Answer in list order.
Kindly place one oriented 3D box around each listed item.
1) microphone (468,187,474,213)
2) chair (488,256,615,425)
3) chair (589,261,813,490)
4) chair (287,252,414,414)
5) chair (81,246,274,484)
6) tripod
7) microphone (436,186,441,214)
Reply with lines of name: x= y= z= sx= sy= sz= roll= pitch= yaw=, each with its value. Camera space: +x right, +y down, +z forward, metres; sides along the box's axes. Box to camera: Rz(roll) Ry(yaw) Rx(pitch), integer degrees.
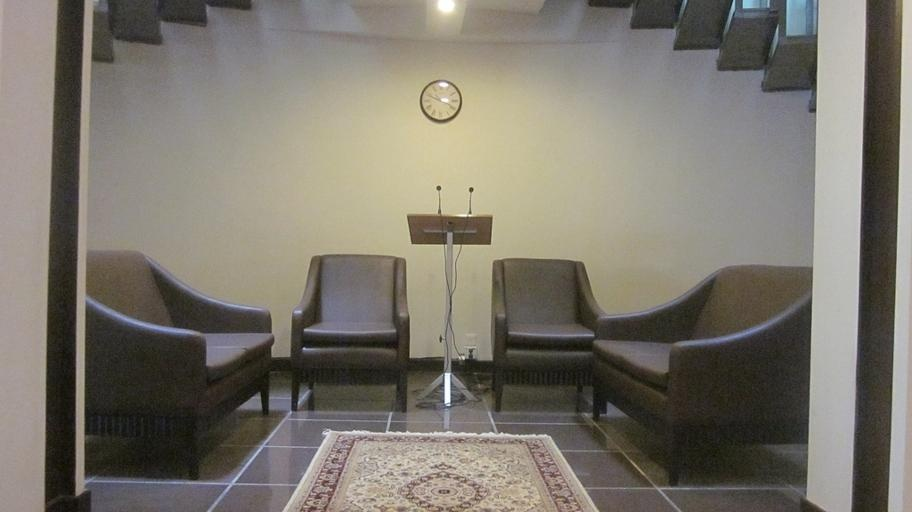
microphone: x=0.128 y=-0.446 z=5.821 sx=0.049 sy=0.198 sz=0.094 roll=-1 pitch=5 yaw=-4
chair: x=0.651 y=0.547 z=5.448 sx=0.849 sy=1.006 sz=0.887 roll=1 pitch=4 yaw=-6
chair: x=1.632 y=0.658 z=4.832 sx=1.152 sy=1.065 sz=1.378 roll=-1 pitch=3 yaw=-6
chair: x=-0.757 y=0.529 z=5.335 sx=0.825 sy=1.055 sz=0.681 roll=-1 pitch=4 yaw=-3
chair: x=-1.959 y=0.597 z=5.005 sx=1.067 sy=1.181 sz=1.750 roll=4 pitch=2 yaw=-3
tripod: x=-0.030 y=0.433 z=5.476 sx=0.410 sy=1.224 sz=0.833 roll=0 pitch=4 yaw=9
microphone: x=-0.131 y=-0.457 z=5.824 sx=0.043 sy=0.204 sz=0.100 roll=-1 pitch=5 yaw=0
